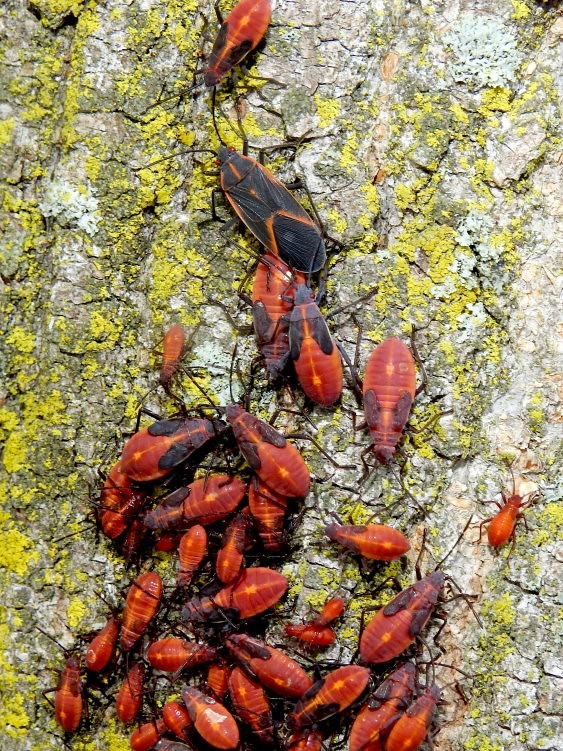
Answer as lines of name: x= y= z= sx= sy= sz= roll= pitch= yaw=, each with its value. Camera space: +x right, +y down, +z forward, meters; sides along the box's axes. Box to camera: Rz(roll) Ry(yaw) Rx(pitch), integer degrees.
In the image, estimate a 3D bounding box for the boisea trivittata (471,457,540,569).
boisea trivittata: x=1.158 y=0.680 z=4.810 sx=0.256 sy=0.208 sz=0.445 roll=26 pitch=69 yaw=7
